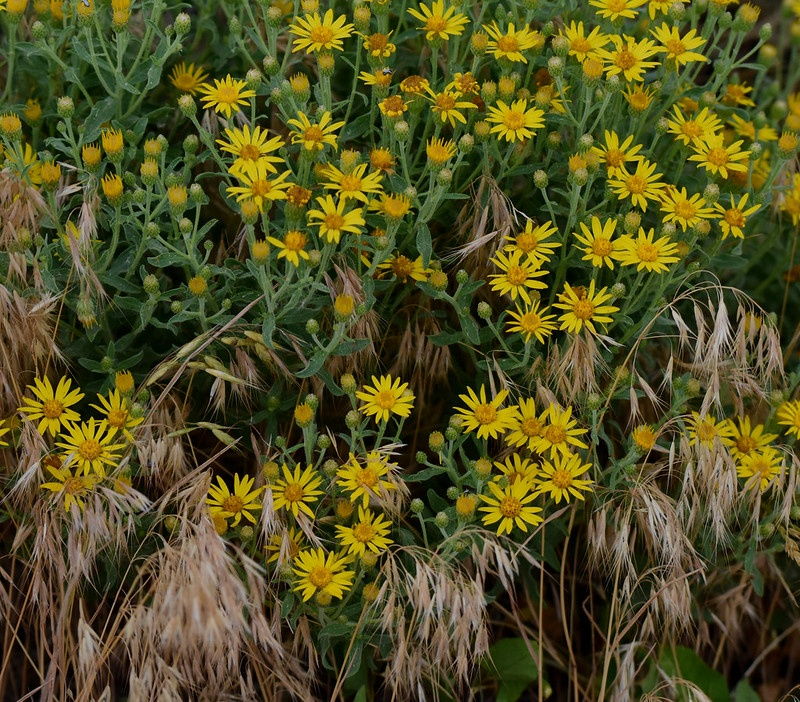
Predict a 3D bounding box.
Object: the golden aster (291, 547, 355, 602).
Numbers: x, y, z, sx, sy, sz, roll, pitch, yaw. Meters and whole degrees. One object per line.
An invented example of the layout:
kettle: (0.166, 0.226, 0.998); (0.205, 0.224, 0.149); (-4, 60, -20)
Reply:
golden aster: (-0.192, 0.548, 2.185); (0.136, 0.039, 0.141); (41, 66, 10)
